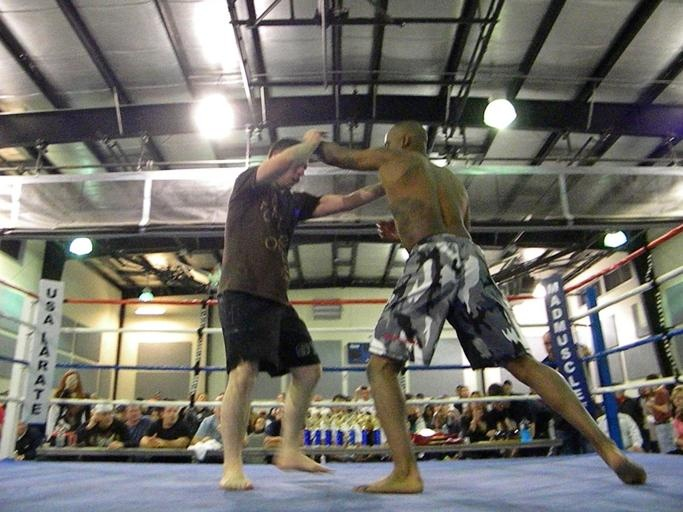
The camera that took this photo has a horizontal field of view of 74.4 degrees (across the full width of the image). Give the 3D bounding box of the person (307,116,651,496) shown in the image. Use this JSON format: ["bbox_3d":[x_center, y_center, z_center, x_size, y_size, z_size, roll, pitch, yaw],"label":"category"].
[{"bbox_3d":[0.517,0.151,2.096,1.359,1.618,0.727,-3,-13,5],"label":"person"}]

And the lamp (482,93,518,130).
[{"bbox_3d":[1.874,-1.682,5.323,0.341,0.355,0.317,23,-54,-12],"label":"lamp"}]
